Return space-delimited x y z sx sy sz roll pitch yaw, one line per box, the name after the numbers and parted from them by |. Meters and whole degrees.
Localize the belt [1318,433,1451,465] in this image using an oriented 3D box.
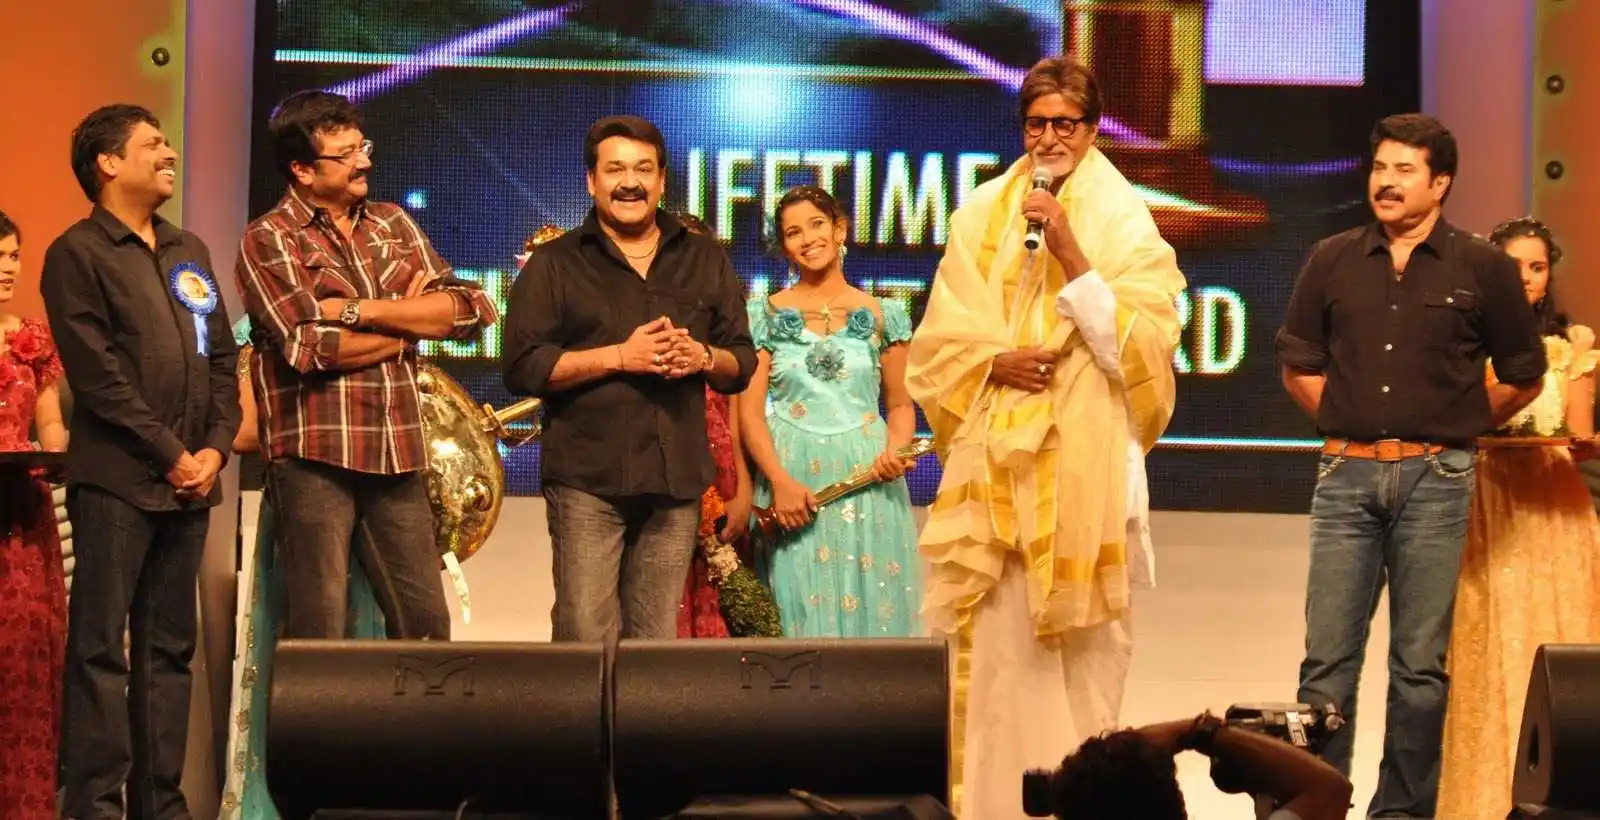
2.697 0.180 7.510 0.522 0.109 0.122 -1 -1 27 | belt

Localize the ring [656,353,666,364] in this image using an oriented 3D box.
-0.627 -0.226 7.196 0.056 0.041 0.010 0 -1 -11 | ring

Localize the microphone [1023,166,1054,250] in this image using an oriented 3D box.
1.046 -0.898 7.201 0.112 0.374 0.222 0 -1 10 | microphone

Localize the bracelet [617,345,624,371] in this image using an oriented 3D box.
-0.812 -0.237 7.212 0.049 0.117 0.057 0 -1 -5 | bracelet

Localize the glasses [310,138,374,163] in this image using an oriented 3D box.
-2.109 -1.165 7.370 0.192 0.048 0.171 -4 12 15 | glasses

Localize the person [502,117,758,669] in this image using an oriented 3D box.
-0.793 -0.157 7.319 1.103 2.351 0.418 0 -1 -4 | person
